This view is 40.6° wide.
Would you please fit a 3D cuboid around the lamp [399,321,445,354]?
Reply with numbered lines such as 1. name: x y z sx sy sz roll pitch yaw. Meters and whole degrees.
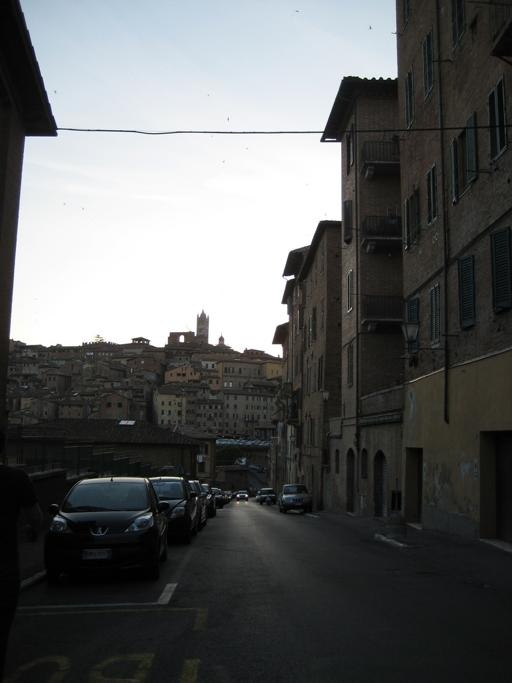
1. lamp: 4.432 -0.088 19.020 0.814 1.092 0.557 5 -10 -3

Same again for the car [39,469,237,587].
1. car: -1.982 2.558 10.068 1.395 1.474 2.852 -2 -21 0
